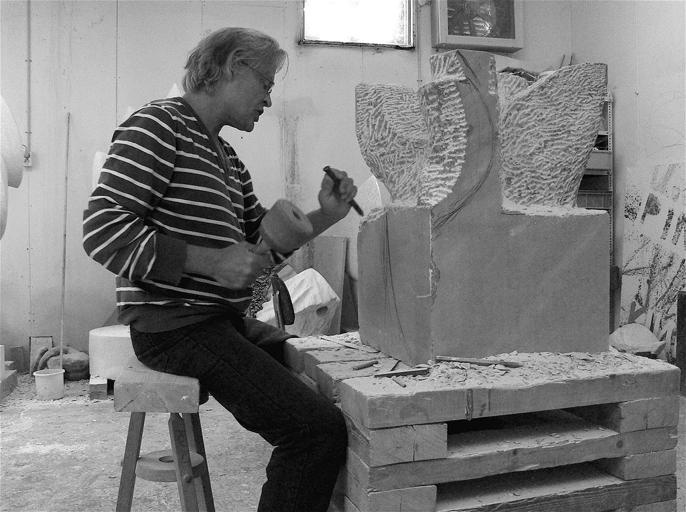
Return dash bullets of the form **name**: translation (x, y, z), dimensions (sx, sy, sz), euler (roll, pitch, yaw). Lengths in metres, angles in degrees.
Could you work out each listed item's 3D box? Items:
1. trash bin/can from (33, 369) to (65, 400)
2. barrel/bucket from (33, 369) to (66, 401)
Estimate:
- **trash bin/can**: translation (-1.994, 0.870, 5.451), dimensions (0.181, 0.187, 0.187), euler (1, 3, 5)
- **barrel/bucket**: translation (-2.002, 0.880, 5.473), dimensions (0.184, 0.190, 0.190), euler (1, 4, 0)
